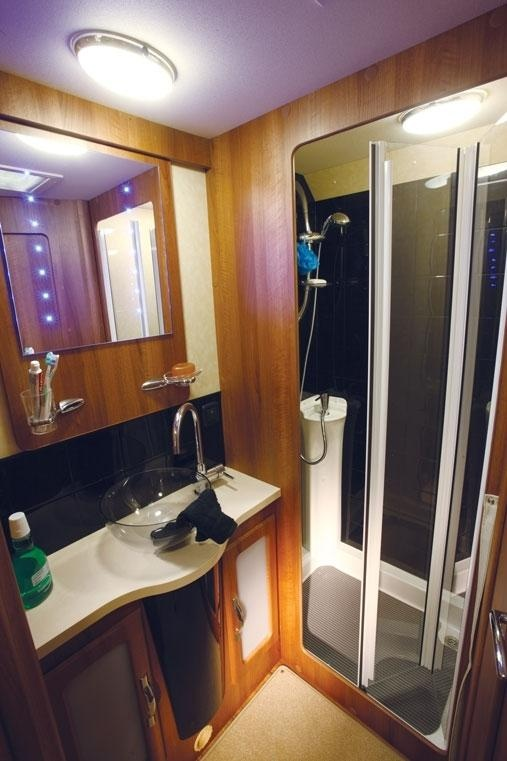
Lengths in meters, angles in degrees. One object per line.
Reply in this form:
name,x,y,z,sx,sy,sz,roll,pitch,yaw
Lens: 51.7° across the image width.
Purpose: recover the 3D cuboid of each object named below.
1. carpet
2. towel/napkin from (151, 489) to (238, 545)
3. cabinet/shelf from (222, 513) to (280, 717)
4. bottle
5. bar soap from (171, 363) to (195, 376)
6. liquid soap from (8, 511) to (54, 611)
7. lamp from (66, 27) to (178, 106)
carpet,0.481,0.909,1.708,0.076,0.605,0.360,-4,50,49
towel/napkin,-0.148,0.395,1.480,0.146,0.061,0.153,5,22,41
cabinet/shelf,-0.009,0.815,1.861,0.087,0.713,0.336,2,15,32
bottle,-0.581,0.435,1.349,0.082,0.237,0.173,-12,14,-25
bar soap,-0.239,-0.048,1.787,0.051,0.034,0.053,-5,8,-21
liquid soap,-0.581,0.435,1.349,0.082,0.237,0.173,-12,14,-25
lamp,-0.297,-0.748,1.244,0.190,0.074,0.289,-1,15,25
